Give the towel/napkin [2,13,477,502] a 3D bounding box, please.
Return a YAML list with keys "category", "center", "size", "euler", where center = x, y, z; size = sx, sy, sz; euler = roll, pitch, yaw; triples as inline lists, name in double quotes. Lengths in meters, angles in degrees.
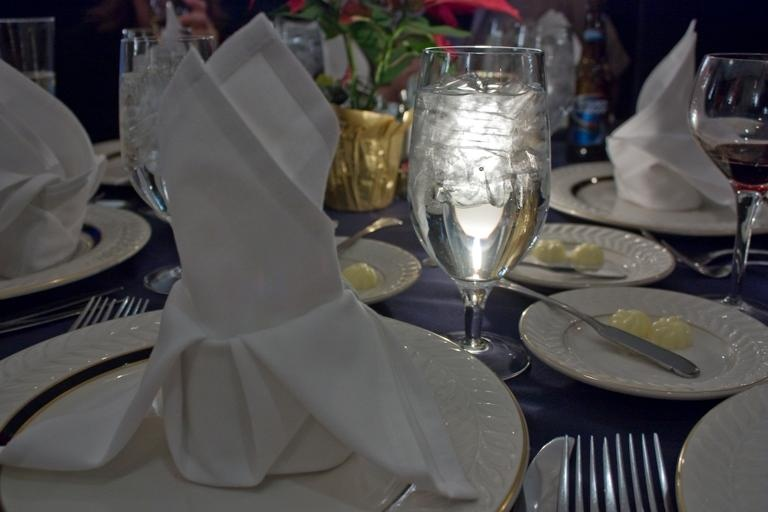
- category: "towel/napkin"
  center: [-0.119, 0.052, 0.764]
  size: [0.418, 0.466, 0.405]
  euler: [0, 1, 16]
